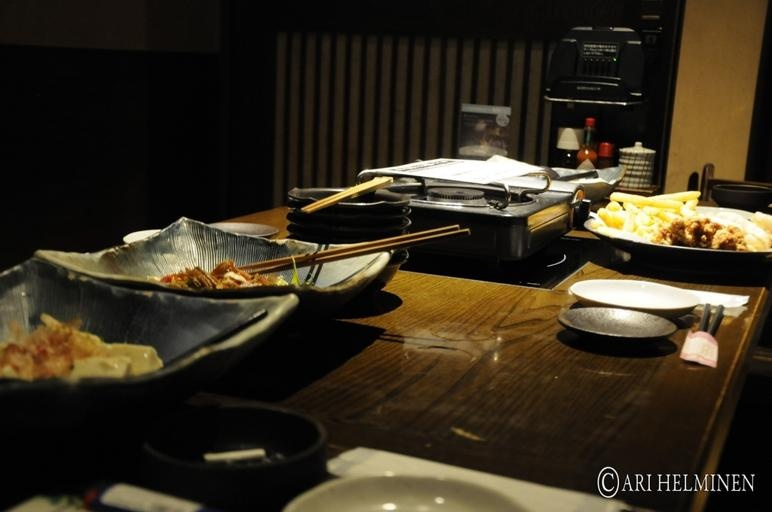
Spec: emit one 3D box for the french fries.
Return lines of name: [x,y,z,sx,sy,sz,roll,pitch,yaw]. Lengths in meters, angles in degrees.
french fries: [0.810,-0.155,1.759,0.325,0.146,0.274,-3,13,1]

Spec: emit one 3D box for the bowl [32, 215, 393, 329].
bowl: [-0.266,0.016,1.086,0.605,0.121,0.553,0,7,0]

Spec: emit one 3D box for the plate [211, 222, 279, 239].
plate: [-0.419,-0.082,1.681,0.118,0.015,0.114,7,12,12]

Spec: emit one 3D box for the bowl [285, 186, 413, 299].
bowl: [-0.091,-0.057,1.321,0.281,0.182,0.255,-6,10,-22]

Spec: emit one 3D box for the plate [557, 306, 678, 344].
plate: [0.446,0.127,1.093,0.203,0.050,0.179,1,11,15]
